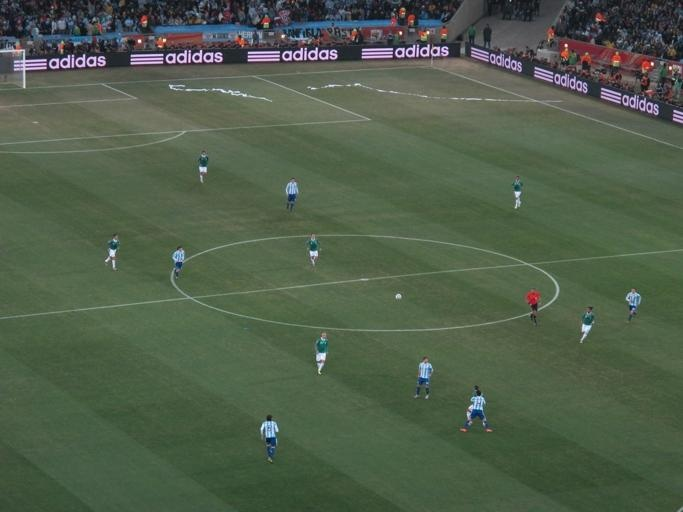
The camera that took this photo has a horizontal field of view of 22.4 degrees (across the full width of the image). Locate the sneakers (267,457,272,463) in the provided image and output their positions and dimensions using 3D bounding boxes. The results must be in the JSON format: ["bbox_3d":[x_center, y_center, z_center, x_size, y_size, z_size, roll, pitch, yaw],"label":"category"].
[{"bbox_3d":[-3.441,9.744,81.332,0.191,0.092,0.256,4,21,-1],"label":"sneakers"}]

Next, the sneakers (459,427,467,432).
[{"bbox_3d":[5.847,8.534,83.543,0.393,0.243,0.138,10,13,23],"label":"sneakers"}]

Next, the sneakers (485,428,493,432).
[{"bbox_3d":[7.067,8.556,83.542,0.385,0.159,0.138,-2,15,-3],"label":"sneakers"}]

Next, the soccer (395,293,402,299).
[{"bbox_3d":[3.000,2.304,93.534,0.265,0.155,0.262,0,9,6],"label":"soccer"}]
